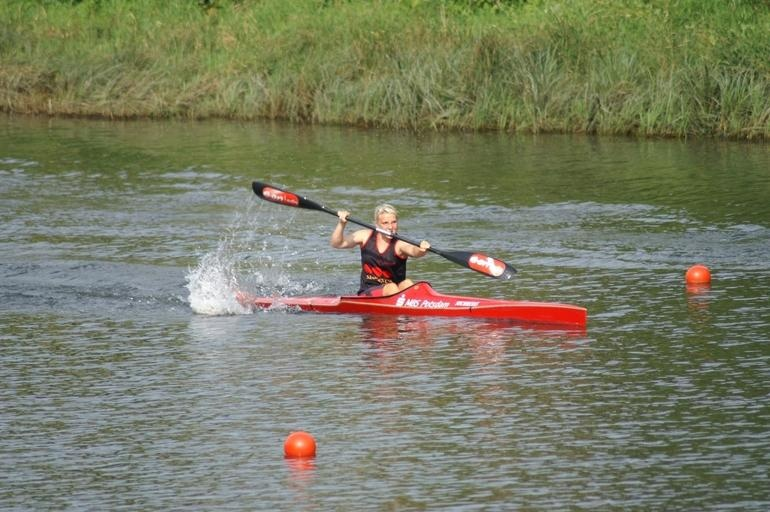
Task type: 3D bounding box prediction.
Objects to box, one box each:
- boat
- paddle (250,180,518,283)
[{"bbox_3d":[0.419,0.606,17.028,4.564,0.407,0.428,1,20,12],"label":"boat"},{"bbox_3d":[-0.056,-0.310,19.621,4.552,0.274,0.373,17,76,6],"label":"paddle"}]
